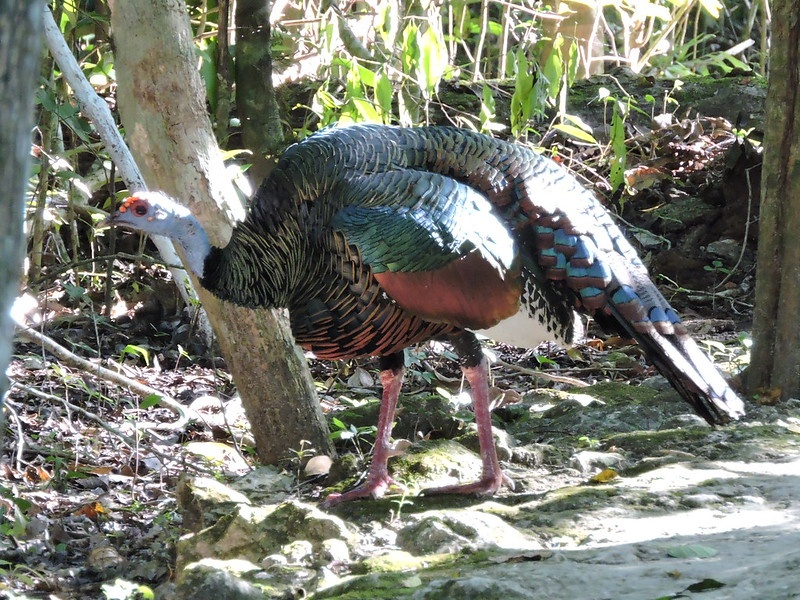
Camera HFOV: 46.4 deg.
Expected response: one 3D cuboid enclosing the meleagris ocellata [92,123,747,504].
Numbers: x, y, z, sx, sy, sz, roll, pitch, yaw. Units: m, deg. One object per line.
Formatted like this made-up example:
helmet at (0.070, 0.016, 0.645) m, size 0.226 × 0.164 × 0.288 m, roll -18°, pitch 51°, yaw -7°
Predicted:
meleagris ocellata at (0.226, 0.028, 5.194) m, size 2.871 × 2.028 × 0.689 m, roll -6°, pitch 10°, yaw -5°
